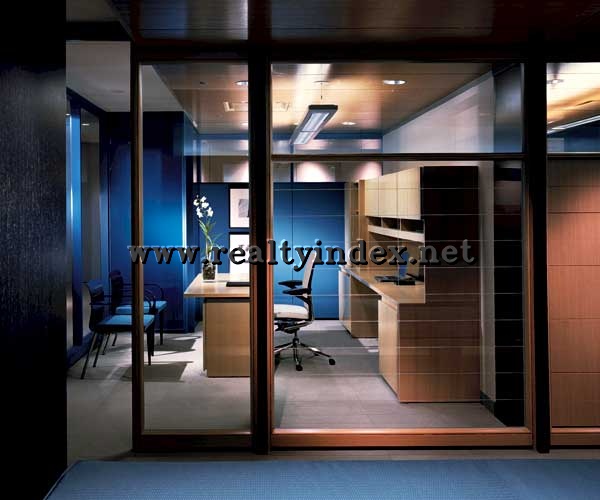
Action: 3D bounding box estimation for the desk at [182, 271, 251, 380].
[{"bbox_3d":[-0.918,0.784,4.757,0.546,0.592,1.665,4,-14,-26],"label":"desk"}]

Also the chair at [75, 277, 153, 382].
[{"bbox_3d":[-1.557,0.656,4.936,0.625,0.689,0.569,0,5,-20],"label":"chair"}]

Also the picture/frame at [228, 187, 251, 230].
[{"bbox_3d":[-0.677,-0.459,6.274,0.214,0.414,0.408,-3,13,-7],"label":"picture/frame"}]

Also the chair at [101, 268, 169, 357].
[{"bbox_3d":[-1.558,0.549,5.476,0.526,0.669,0.515,2,3,-2],"label":"chair"}]

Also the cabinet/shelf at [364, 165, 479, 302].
[{"bbox_3d":[0.799,-0.150,4.096,0.362,0.900,1.038,-7,8,-18],"label":"cabinet/shelf"}]

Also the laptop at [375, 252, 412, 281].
[{"bbox_3d":[0.618,0.109,3.760,0.192,0.210,0.208,1,0,-5],"label":"laptop"}]

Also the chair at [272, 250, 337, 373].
[{"bbox_3d":[-0.037,0.397,3.725,0.506,0.712,0.456,-1,0,-2],"label":"chair"}]

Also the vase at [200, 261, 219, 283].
[{"bbox_3d":[-0.777,0.201,5.004,0.152,0.210,0.152,2,-3,0],"label":"vase"}]
